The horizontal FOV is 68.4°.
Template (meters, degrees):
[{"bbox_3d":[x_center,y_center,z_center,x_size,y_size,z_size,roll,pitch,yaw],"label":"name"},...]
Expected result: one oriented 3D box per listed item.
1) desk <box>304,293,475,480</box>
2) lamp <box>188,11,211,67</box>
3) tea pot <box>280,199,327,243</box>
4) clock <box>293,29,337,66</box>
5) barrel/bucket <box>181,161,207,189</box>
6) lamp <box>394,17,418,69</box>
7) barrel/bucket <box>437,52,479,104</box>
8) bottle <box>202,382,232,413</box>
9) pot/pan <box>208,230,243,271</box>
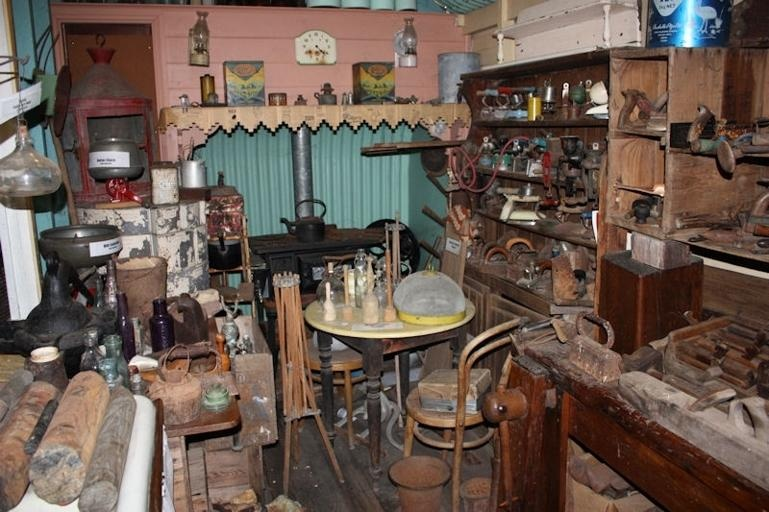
[{"bbox_3d":[-0.092,0.952,4.706,1.341,1.076,1.354,-6,13,-29],"label":"desk"},{"bbox_3d":[-1.947,-2.271,5.915,0.260,0.543,0.133,-8,11,-16],"label":"lamp"},{"bbox_3d":[-0.930,-0.429,6.381,0.596,0.537,0.409,-5,15,-15],"label":"tea pot"},{"bbox_3d":[-0.787,-2.324,6.257,0.397,0.341,0.056,-2,7,-14],"label":"clock"},{"bbox_3d":[-1.933,-0.833,5.766,0.275,0.282,0.275,1,10,0],"label":"barrel/bucket"},{"bbox_3d":[0.245,-2.433,6.493,0.261,0.522,0.258,4,12,24],"label":"lamp"},{"bbox_3d":[0.768,-2.005,6.552,0.531,0.614,0.543,0,6,0],"label":"barrel/bucket"},{"bbox_3d":[-1.047,0.874,3.532,0.151,0.106,0.154,0,5,0],"label":"bottle"},{"bbox_3d":[-1.638,-0.043,5.898,0.237,0.364,0.409,1,20,-2],"label":"pot/pan"}]
